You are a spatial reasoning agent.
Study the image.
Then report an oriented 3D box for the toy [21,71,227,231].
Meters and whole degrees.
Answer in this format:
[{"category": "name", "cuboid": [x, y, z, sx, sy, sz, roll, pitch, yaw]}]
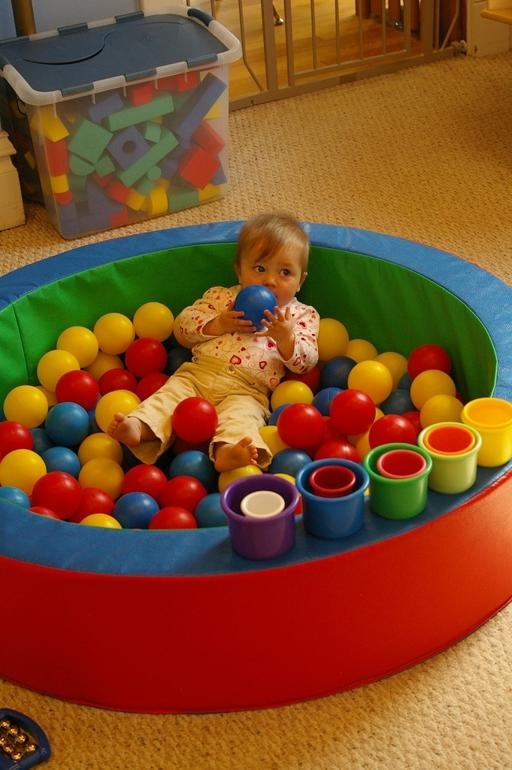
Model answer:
[{"category": "toy", "cuboid": [-0.386, -0.697, 1.836, 0.485, 0.312, 0.271, -22, 47, -20]}]
